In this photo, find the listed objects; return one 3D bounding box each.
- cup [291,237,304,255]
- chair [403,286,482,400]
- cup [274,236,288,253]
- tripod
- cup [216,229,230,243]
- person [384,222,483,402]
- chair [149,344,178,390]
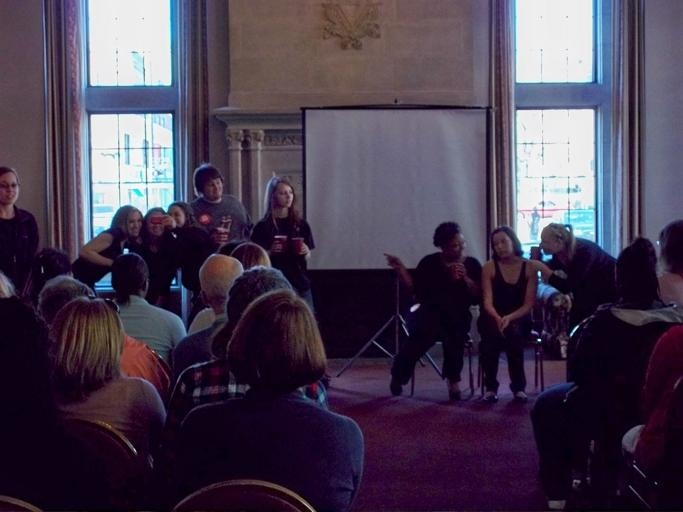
[{"bbox_3d":[-0.324,-0.080,5.359,0.076,0.113,0.106,0,-3,1],"label":"cup"},{"bbox_3d":[0.703,0.688,5.772,0.601,0.673,0.281,0,4,10],"label":"chair"},{"bbox_3d":[-0.443,-0.085,5.281,0.097,0.121,0.102,0,-1,0],"label":"cup"},{"bbox_3d":[0.469,0.641,6.838,1.183,0.834,0.941,14,0,-9],"label":"tripod"},{"bbox_3d":[-0.899,-0.146,5.530,0.085,0.100,0.093,-1,1,0],"label":"cup"},{"bbox_3d":[0.776,0.448,6.134,0.879,1.854,0.853,2,-23,5],"label":"person"},{"bbox_3d":[-0.889,0.571,3.774,0.144,0.207,0.209,0,1,-6],"label":"chair"}]
